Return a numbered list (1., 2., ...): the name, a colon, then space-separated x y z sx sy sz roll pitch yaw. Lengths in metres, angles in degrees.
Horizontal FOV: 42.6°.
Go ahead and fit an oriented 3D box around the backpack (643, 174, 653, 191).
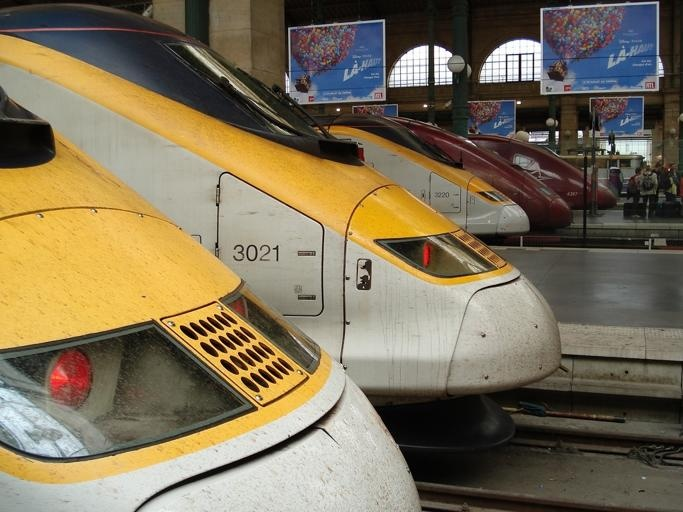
1. backpack: 7.402 -1.743 21.207 0.277 0.420 0.140 -2 7 14
